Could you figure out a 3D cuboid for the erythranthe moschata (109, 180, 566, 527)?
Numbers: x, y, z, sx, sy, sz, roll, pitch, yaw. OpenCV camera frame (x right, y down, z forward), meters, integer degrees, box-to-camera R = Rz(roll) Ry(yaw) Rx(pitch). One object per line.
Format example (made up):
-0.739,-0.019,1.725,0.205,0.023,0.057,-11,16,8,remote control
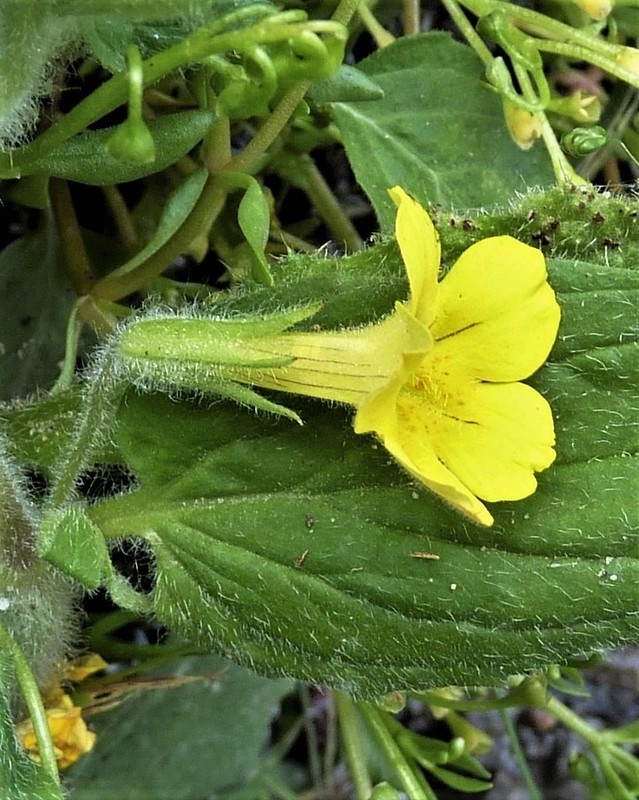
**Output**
-0.026,-0.034,0.712,0.413,0.171,0.222,0,32,-1,erythranthe moschata
